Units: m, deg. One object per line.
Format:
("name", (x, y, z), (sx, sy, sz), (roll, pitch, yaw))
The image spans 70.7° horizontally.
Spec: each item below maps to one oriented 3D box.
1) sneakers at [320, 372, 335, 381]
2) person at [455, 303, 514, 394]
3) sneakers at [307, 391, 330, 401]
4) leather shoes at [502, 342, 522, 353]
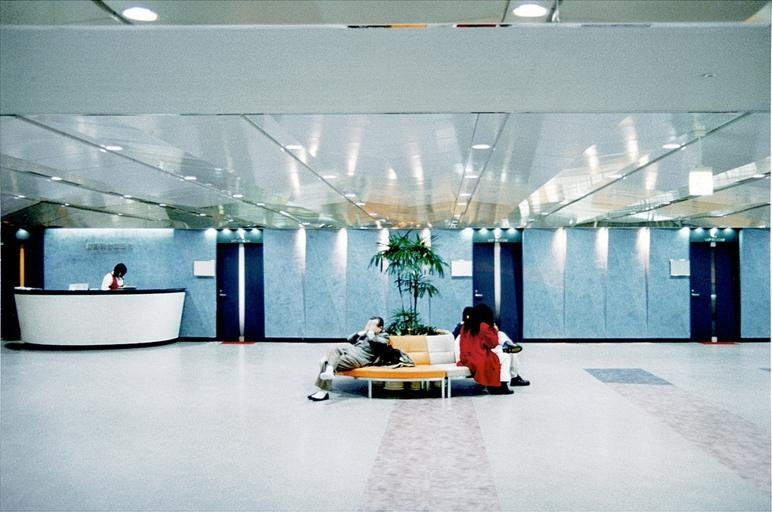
("sneakers", (-1.032, 2.217, 10.069), (0.260, 0.102, 0.232), (-3, 8, 27))
("person", (1.925, 1.864, 10.659), (0.920, 1.725, 0.837), (-2, 4, -31))
("sneakers", (-1.227, 2.623, 10.158), (0.356, 0.102, 0.193), (9, -11, -33))
("leather shoes", (2.562, 1.853, 10.853), (0.214, 0.194, 0.566), (22, -26, -21))
